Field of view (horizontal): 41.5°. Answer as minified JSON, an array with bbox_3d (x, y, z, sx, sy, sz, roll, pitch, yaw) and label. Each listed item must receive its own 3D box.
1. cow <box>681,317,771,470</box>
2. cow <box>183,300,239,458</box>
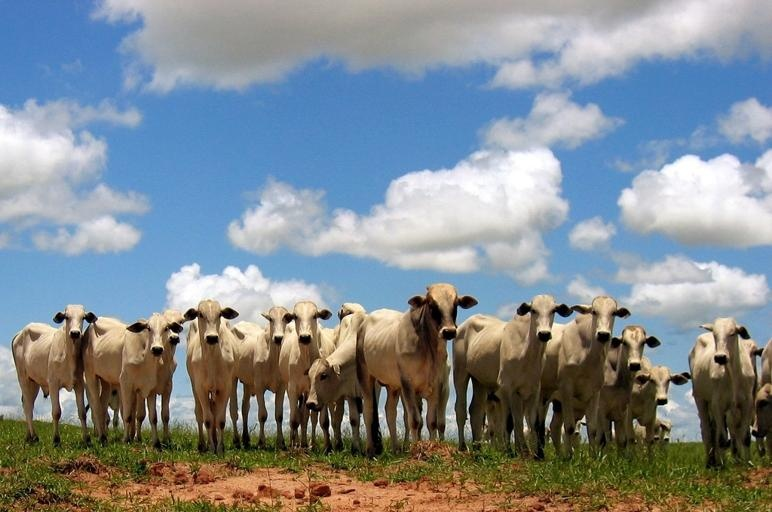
[{"bbox_3d":[9.144,3.755,27.891,1.741,4.070,3.182,-1,-1,18],"label":"cow"},{"bbox_3d":[-5.010,3.506,29.737,1.189,4.431,1.687,0,-1,-33],"label":"cow"}]
